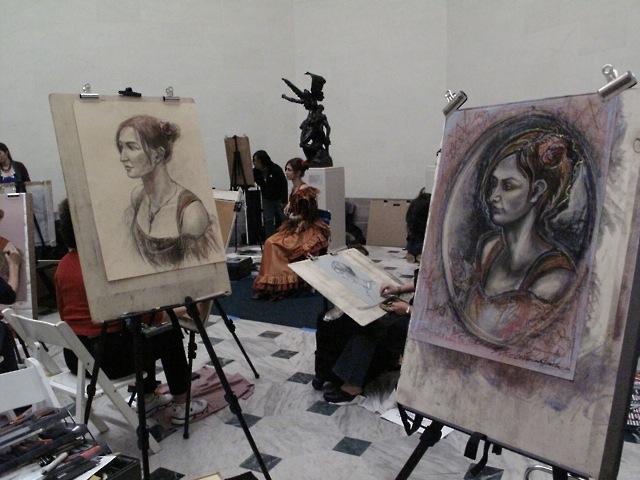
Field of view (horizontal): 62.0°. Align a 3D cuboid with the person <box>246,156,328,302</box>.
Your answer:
[{"bbox_3d":[-0.326,-0.130,5.573,0.485,1.347,0.927,6,19,40],"label":"person"}]

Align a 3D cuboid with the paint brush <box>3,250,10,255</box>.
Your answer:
[{"bbox_3d":[-2.042,0.080,3.465,0.024,0.035,0.019,-3,-8,2],"label":"paint brush"}]

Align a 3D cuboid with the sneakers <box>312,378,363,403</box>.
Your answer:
[{"bbox_3d":[0.105,0.947,3.390,0.280,0.118,0.124,23,15,16],"label":"sneakers"}]

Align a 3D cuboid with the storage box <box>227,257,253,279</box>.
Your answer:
[{"bbox_3d":[-0.966,0.276,6.283,0.203,0.188,0.368,0,4,13],"label":"storage box"}]

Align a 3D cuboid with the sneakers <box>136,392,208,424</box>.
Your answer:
[{"bbox_3d":[-0.893,1.005,3.226,0.148,0.188,0.420,5,5,40],"label":"sneakers"}]
